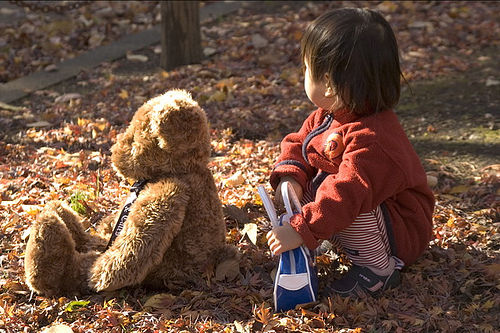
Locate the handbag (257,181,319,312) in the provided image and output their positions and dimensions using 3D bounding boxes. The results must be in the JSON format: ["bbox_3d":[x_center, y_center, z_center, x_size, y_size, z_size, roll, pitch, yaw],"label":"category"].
[{"bbox_3d":[0.290,0.556,3.716,0.383,0.840,0.411,-5,21,0],"label":"handbag"}]

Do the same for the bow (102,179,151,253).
[{"bbox_3d":[-0.878,0.339,3.887,0.271,0.516,0.393,1,3,-40],"label":"bow"}]

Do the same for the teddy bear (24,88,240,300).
[{"bbox_3d":[-0.823,0.228,3.757,1.401,1.396,0.628,-6,21,-3],"label":"teddy bear"}]

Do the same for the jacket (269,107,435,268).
[{"bbox_3d":[0.723,0.001,3.874,0.691,1.715,1.214,-8,18,-19],"label":"jacket"}]
